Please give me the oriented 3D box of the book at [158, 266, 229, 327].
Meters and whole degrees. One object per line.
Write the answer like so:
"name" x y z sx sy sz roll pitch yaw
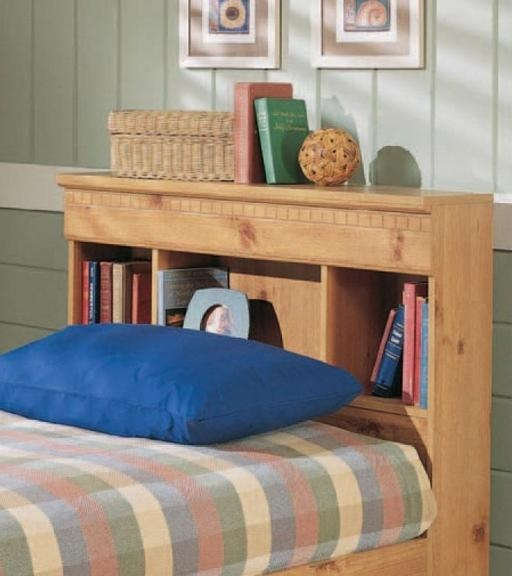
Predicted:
"book" -0.175 0.028 1.860 0.156 0.114 0.026 -6 10 -40

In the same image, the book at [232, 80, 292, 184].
"book" 0.022 -0.393 1.765 0.172 0.274 0.061 1 2 -38

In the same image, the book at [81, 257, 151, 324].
"book" -0.415 0.018 2.093 0.169 0.225 0.231 2 0 -37

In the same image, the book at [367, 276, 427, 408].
"book" 0.316 0.123 1.491 0.071 0.229 0.170 7 7 15

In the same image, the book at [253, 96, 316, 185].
"book" 0.066 -0.359 1.726 0.047 0.197 0.195 1 3 30
